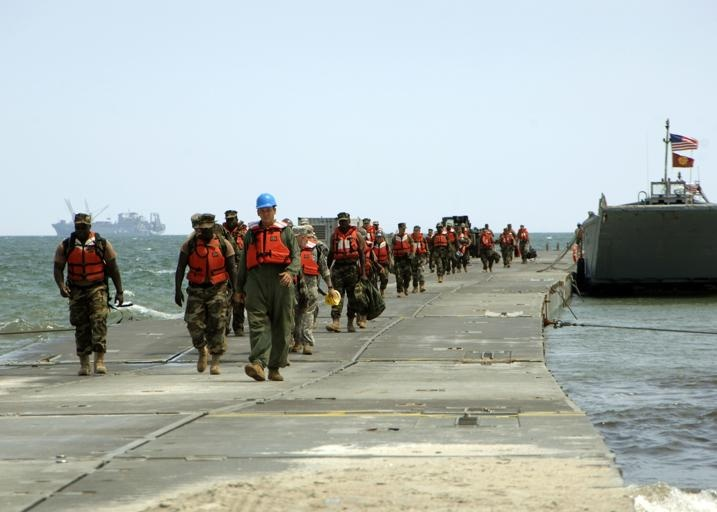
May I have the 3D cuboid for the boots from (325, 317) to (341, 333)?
[{"bbox_3d":[-0.513,1.334,15.877,0.127,0.242,0.255,-7,-43,24],"label":"boots"}]

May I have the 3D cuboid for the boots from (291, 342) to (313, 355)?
[{"bbox_3d":[-0.873,1.460,12.895,0.136,0.181,0.394,5,-13,-30],"label":"boots"}]

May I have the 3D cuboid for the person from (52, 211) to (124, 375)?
[{"bbox_3d":[-3.602,0.517,11.016,0.861,2.199,0.590,-1,0,-15],"label":"person"}]

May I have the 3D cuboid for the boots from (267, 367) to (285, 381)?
[{"bbox_3d":[-1.012,1.470,10.185,0.109,0.222,0.242,6,-13,-37],"label":"boots"}]

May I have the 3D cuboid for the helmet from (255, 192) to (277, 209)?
[{"bbox_3d":[-1.103,-0.639,9.827,0.187,0.171,0.122,-1,0,-22],"label":"helmet"}]

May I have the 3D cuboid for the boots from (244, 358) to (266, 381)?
[{"bbox_3d":[-1.231,1.388,9.817,0.167,0.328,0.162,-1,40,21],"label":"boots"}]
